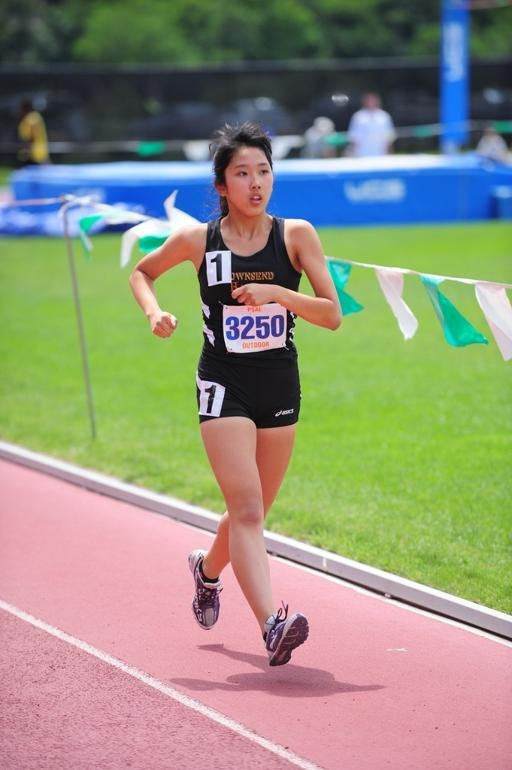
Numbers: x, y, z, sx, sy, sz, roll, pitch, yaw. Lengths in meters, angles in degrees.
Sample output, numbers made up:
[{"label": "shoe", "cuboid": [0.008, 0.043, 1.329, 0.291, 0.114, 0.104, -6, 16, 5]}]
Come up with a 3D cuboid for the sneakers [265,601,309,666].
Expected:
[{"label": "sneakers", "cuboid": [0.077, 0.720, 2.330, 0.111, 0.188, 0.182, -5, 12, -11]}]

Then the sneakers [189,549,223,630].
[{"label": "sneakers", "cuboid": [-0.192, 0.705, 2.826, 0.106, 0.268, 0.126, -9, -5, -31]}]

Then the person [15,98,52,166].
[{"label": "person", "cuboid": [-5.332, -5.958, 19.111, 0.658, 1.491, 0.929, -6, 12, -13]}]

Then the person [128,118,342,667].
[{"label": "person", "cuboid": [-0.007, 0.073, 2.532, 0.560, 1.747, 0.824, -11, 14, -31]}]

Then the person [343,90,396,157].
[{"label": "person", "cuboid": [2.649, -6.061, 18.871, 1.011, 1.507, 1.209, -2, 11, 6]}]
